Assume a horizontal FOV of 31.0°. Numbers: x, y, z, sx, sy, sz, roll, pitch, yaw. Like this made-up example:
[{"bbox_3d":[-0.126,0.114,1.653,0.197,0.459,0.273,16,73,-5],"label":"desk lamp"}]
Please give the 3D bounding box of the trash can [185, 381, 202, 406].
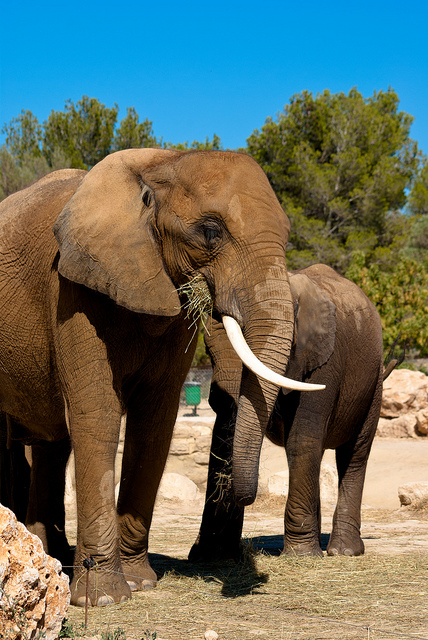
[{"bbox_3d":[-0.547,1.929,20.148,0.659,0.682,0.565,0,-13,0],"label":"trash can"}]
